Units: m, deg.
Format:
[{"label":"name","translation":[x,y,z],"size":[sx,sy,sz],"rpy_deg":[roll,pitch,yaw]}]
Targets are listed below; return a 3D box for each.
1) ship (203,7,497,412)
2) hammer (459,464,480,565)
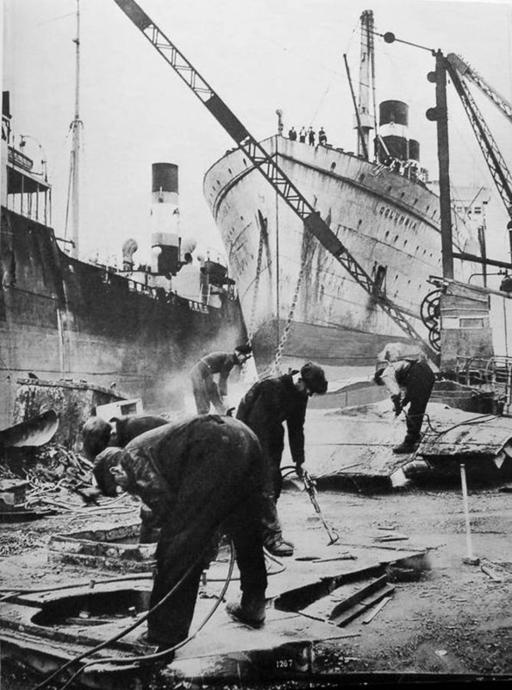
[{"label":"ship","translation":[0.555,-0.886,7.609],"size":[1.841,2.763,0.430],"rpy_deg":[-1,-4,-3]},{"label":"hammer","translation":[1.483,1.170,7.006],"size":[0.101,0.678,0.335],"rpy_deg":[-2,-4,10]}]
